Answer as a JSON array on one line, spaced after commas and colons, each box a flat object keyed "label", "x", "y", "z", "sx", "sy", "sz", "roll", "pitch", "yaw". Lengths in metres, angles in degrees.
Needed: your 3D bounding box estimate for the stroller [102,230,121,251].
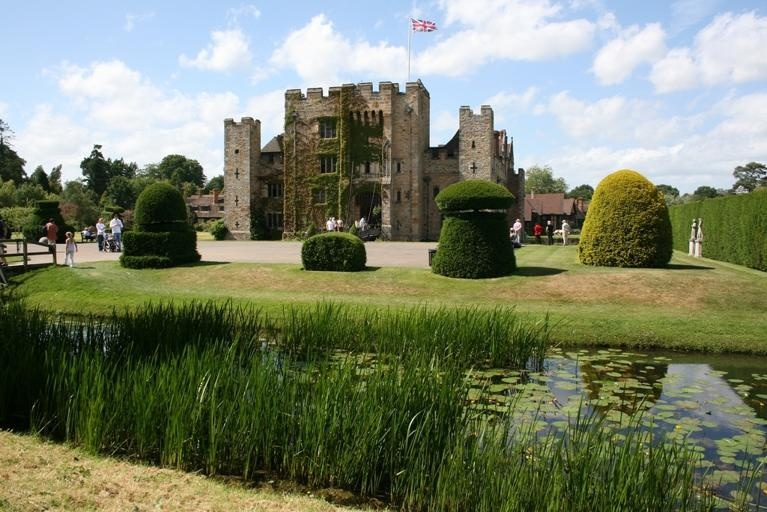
[{"label": "stroller", "x": -11.208, "y": -0.564, "z": 29.618, "sx": 0.518, "sy": 0.584, "sz": 0.990, "roll": 1, "pitch": 0, "yaw": -29}]
